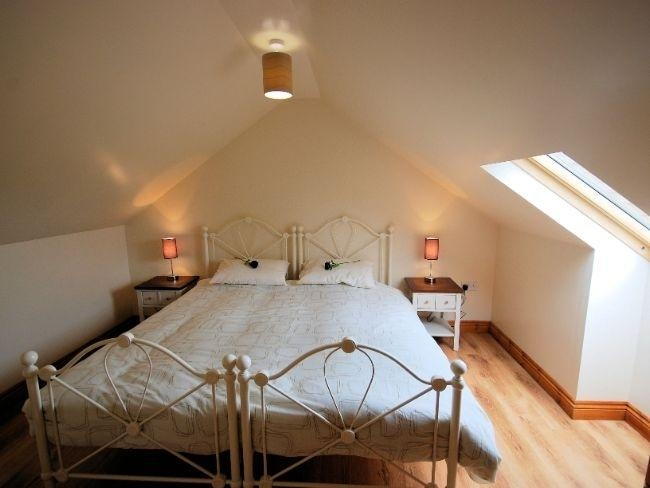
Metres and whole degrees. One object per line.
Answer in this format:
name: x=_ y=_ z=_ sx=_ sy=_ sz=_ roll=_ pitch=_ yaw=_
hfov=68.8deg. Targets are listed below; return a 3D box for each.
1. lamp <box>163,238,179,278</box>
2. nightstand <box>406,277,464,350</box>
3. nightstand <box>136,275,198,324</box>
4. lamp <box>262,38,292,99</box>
lamp: x=-1.605 y=0.168 z=4.928 sx=0.208 sy=0.467 sz=0.205 roll=-4 pitch=15 yaw=-18
nightstand: x=1.083 y=0.685 z=4.837 sx=0.589 sy=0.643 sz=0.603 roll=-6 pitch=15 yaw=-15
nightstand: x=-1.680 y=0.620 z=4.880 sx=0.420 sy=0.405 sz=0.423 roll=0 pitch=5 yaw=-15
lamp: x=-0.319 y=-1.279 z=3.372 sx=0.195 sy=0.345 sz=0.194 roll=-1 pitch=15 yaw=2
